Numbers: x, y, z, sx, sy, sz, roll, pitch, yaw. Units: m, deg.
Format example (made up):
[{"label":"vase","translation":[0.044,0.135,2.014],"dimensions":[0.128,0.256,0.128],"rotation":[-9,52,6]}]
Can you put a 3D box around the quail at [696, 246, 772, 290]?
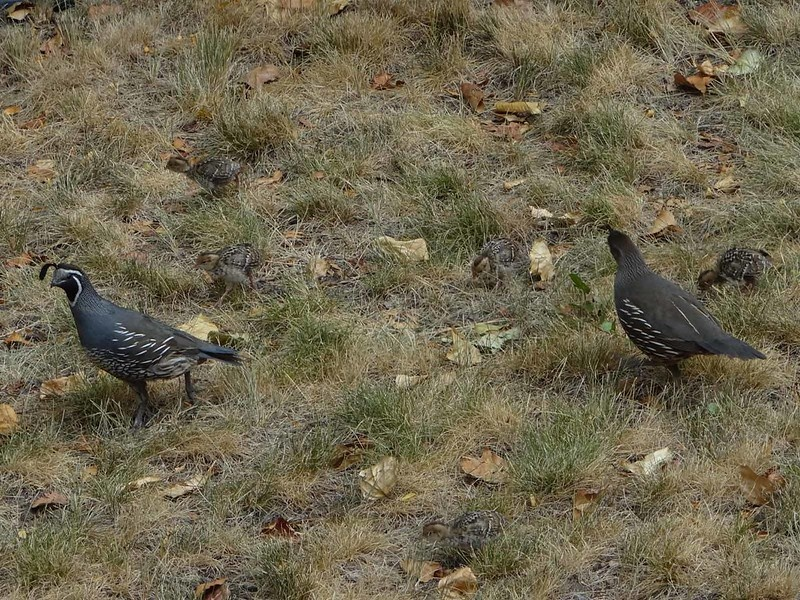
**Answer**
[{"label":"quail","translation":[2.603,-0.221,7.651],"dimensions":[0.535,0.260,0.320],"rotation":[-17,-14,40]}]

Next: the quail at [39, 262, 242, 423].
[{"label":"quail","translation":[-1.792,0.317,7.113],"dimensions":[1.287,1.003,0.456],"rotation":[2,14,-18]}]

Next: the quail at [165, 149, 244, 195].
[{"label":"quail","translation":[-1.690,-1.122,8.914],"dimensions":[0.734,0.452,0.264],"rotation":[-25,23,-36]}]
